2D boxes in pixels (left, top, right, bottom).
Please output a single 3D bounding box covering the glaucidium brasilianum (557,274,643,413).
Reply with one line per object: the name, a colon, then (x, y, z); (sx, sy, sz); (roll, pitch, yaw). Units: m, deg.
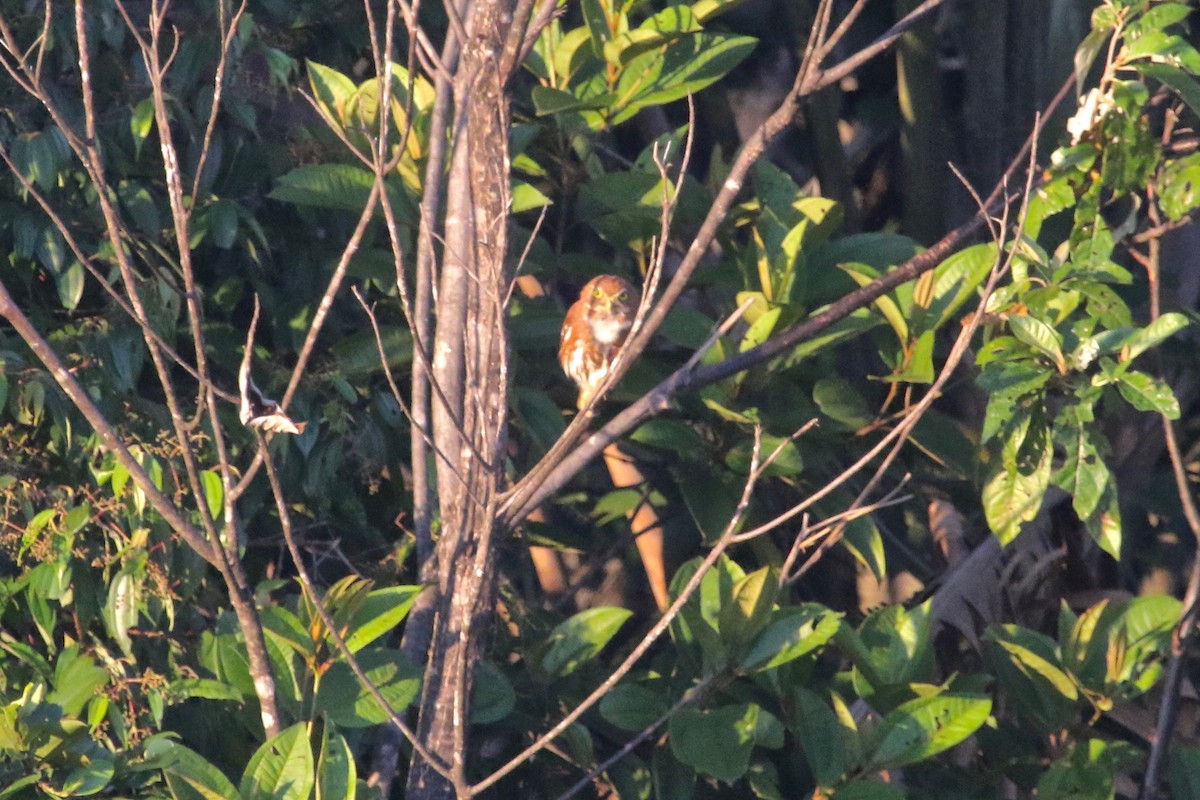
glaucidium brasilianum: (-0.008, -0.145, 6.374); (0.209, 0.343, 0.286); (-1, 5, -2)
